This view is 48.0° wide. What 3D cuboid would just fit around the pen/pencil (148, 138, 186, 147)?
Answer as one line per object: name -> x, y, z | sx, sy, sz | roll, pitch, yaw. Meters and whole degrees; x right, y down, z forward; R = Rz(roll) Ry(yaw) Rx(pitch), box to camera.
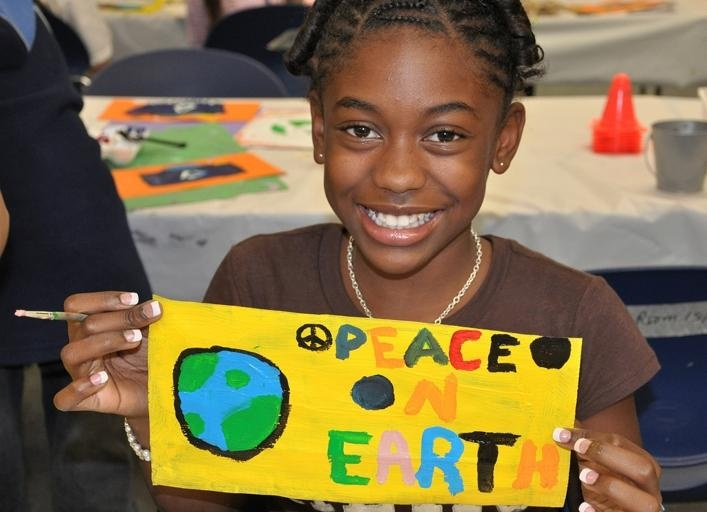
pen/pencil -> -0.653, -0.399, 2.757 | 0.129, 0.018, 0.019 | 9, 77, 5
